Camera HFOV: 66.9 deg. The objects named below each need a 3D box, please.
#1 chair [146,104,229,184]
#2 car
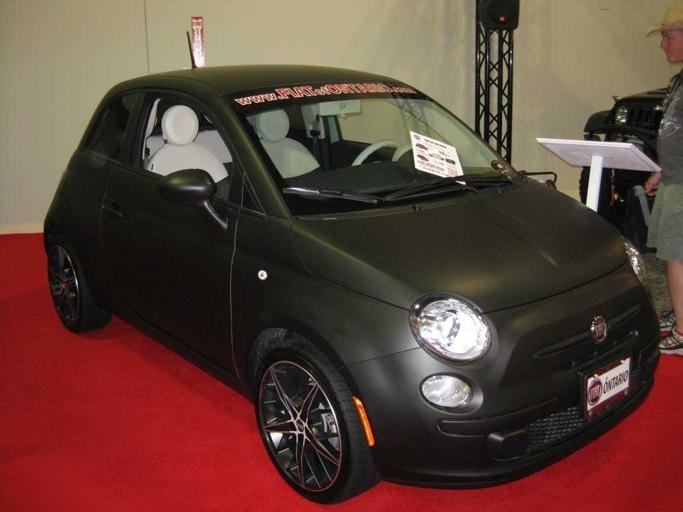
[{"bbox_3d":[-0.871,-0.605,2.800,0.429,0.433,0.439,-2,24,-23],"label":"chair"},{"bbox_3d":[-0.186,0.078,2.584,1.724,1.352,2.677,-13,22,-39],"label":"car"}]
